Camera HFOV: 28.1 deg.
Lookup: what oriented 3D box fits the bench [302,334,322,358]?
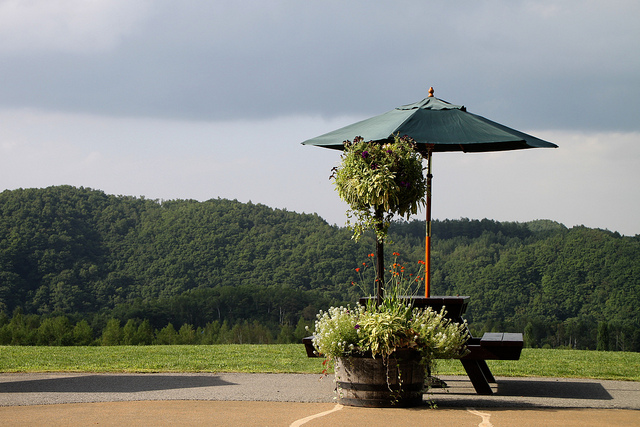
[{"bbox_3d":[-0.663,11.041,107.669,1.902,1.694,1.730,1,1,4],"label":"bench"}]
